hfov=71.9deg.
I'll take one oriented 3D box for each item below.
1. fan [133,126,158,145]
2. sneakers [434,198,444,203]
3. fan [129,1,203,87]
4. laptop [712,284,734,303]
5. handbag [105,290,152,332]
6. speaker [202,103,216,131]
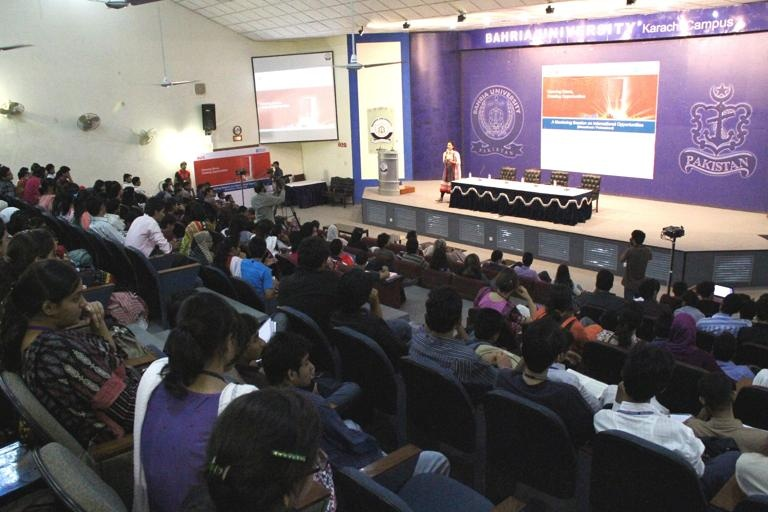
[{"bbox_3d":[-6.866,-3.410,15.145,0.157,0.498,0.566,11,14,43],"label":"fan"},{"bbox_3d":[1.429,-1.449,13.776,0.224,0.182,0.096,5,0,-9],"label":"sneakers"},{"bbox_3d":[-5.580,-5.653,14.181,1.221,2.379,3.366,-1,11,-18],"label":"fan"},{"bbox_3d":[4.643,0.512,7.258,0.125,0.178,0.248,3,2,-38],"label":"laptop"},{"bbox_3d":[-2.282,0.468,4.692,0.386,0.135,0.295,44,25,5],"label":"handbag"},{"bbox_3d":[-5.387,-4.215,16.242,0.371,0.900,0.505,10,13,40],"label":"speaker"}]
